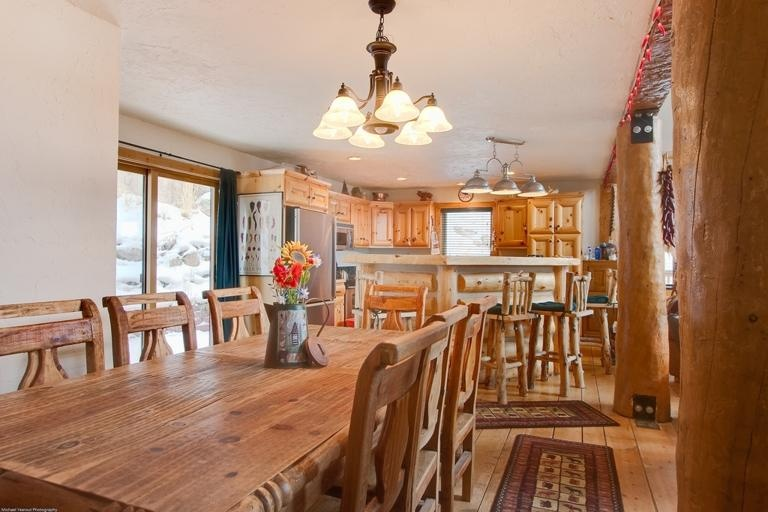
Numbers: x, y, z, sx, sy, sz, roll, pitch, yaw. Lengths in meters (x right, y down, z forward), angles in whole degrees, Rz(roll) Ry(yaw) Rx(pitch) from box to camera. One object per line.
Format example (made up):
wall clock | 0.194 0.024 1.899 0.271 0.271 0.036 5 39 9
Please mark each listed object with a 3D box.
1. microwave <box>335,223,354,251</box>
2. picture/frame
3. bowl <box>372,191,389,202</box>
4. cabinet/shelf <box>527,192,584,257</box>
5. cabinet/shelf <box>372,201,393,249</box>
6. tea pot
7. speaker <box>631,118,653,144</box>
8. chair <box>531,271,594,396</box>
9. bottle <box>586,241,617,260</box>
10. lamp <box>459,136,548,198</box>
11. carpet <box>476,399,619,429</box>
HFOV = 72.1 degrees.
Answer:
microwave | -0.559 -0.286 7.488 0.327 0.303 0.501 -3 -6 18
picture/frame | -1.344 -0.248 5.794 0.623 0.906 0.036 2 3 26
bowl | -0.058 -1.006 8.738 0.268 0.149 0.477 0 12 -2
cabinet/shelf | 2.517 -0.429 7.765 0.850 1.092 0.429 0 27 16
cabinet/shelf | 0.057 -0.512 8.706 0.456 0.712 0.460 3 6 37
tea pot | -0.413 0.351 2.511 0.354 0.319 0.210 3 -2 -15
speaker | 1.945 -0.951 3.957 0.151 0.199 0.074 6 15 21
chair | 1.578 0.679 4.870 0.556 0.983 0.497 -1 -4 40
bottle | 3.152 -0.081 7.667 0.382 0.351 0.231 -4 -6 41
lamp | 1.393 -0.952 5.717 1.157 0.599 0.764 3 -3 -40
carpet | 1.227 1.231 4.181 1.078 0.094 0.607 1 12 -1
